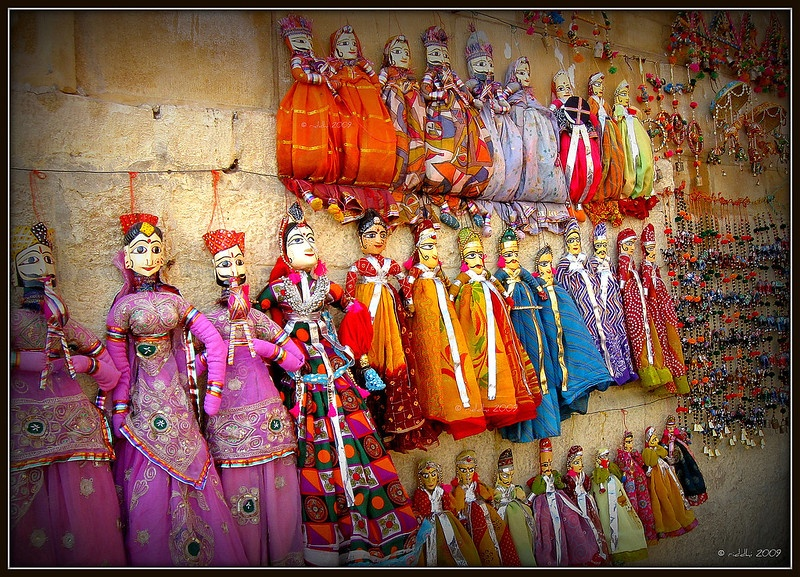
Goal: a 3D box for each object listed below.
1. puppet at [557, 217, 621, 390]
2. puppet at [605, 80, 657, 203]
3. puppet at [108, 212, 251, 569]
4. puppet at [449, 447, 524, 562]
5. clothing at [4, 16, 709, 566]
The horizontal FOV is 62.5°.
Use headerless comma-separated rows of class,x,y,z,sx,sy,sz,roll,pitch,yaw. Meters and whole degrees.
puppet,1.473,0.068,5.357,0.485,1.585,0.278,1,-36,-7
puppet,1.989,-1.285,5.722,0.419,0.962,0.347,-18,19,-32
puppet,-1.353,0.581,3.925,0.704,2.100,0.327,-2,-8,-22
puppet,0.601,1.647,4.871,0.394,0.861,0.315,-15,10,-7
clothing,-0.380,0.034,4.470,4.686,3.396,0.041,-1,-11,-33
